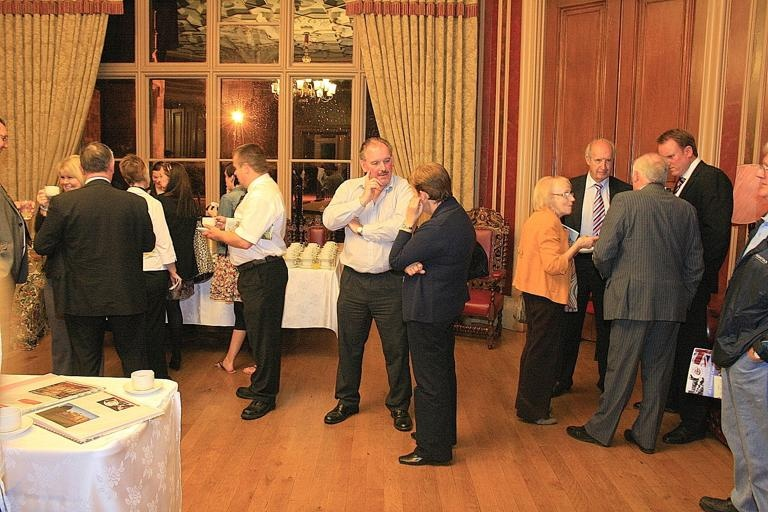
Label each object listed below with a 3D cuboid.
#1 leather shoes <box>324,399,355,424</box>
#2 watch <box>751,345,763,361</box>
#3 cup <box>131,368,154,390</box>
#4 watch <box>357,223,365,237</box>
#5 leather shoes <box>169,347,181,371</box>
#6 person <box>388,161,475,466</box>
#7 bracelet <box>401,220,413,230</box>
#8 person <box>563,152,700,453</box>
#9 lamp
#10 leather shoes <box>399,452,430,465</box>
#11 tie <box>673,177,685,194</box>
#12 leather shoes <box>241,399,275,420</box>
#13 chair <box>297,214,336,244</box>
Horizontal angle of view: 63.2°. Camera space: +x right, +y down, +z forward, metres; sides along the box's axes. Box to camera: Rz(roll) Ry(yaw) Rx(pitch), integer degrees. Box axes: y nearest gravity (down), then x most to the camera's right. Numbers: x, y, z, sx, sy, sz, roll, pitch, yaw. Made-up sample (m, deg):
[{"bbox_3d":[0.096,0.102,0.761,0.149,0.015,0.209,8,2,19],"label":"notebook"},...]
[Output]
[{"bbox_3d":[-0.363,1.255,5.048,0.117,0.130,0.301,6,6,38],"label":"leather shoes"},{"bbox_3d":[2.244,0.588,3.780,0.070,0.053,0.069,-21,18,-41],"label":"watch"},{"bbox_3d":[-1.302,0.658,3.374,0.107,0.079,0.107,-1,-2,0],"label":"cup"},{"bbox_3d":[-0.184,-0.200,4.742,0.048,0.069,0.024,-13,-22,27],"label":"watch"},{"bbox_3d":[-1.975,0.970,5.940,0.106,0.218,0.225,2,18,-13],"label":"leather shoes"},{"bbox_3d":[0.308,0.439,4.354,0.475,2.105,0.406,9,16,30],"label":"person"},{"bbox_3d":[0.158,-0.214,4.277,0.059,0.043,0.058,2,-6,6],"label":"bracelet"},{"bbox_3d":[1.868,0.356,4.619,0.840,2.170,0.502,4,14,15],"label":"person"},{"bbox_3d":[-1.064,-2.517,8.266,0.786,0.886,0.835,2,26,0],"label":"lamp"},{"bbox_3d":[0.215,1.445,4.511,0.245,0.100,0.089,8,0,4],"label":"leather shoes"},{"bbox_3d":[2.393,-0.563,5.041,0.035,0.135,0.082,14,13,-8],"label":"tie"},{"bbox_3d":[-1.020,1.241,5.104,0.110,0.118,0.274,13,8,35],"label":"leather shoes"},{"bbox_3d":[-0.754,-0.287,6.974,0.398,0.274,0.138,0,5,-1],"label":"chair"}]
